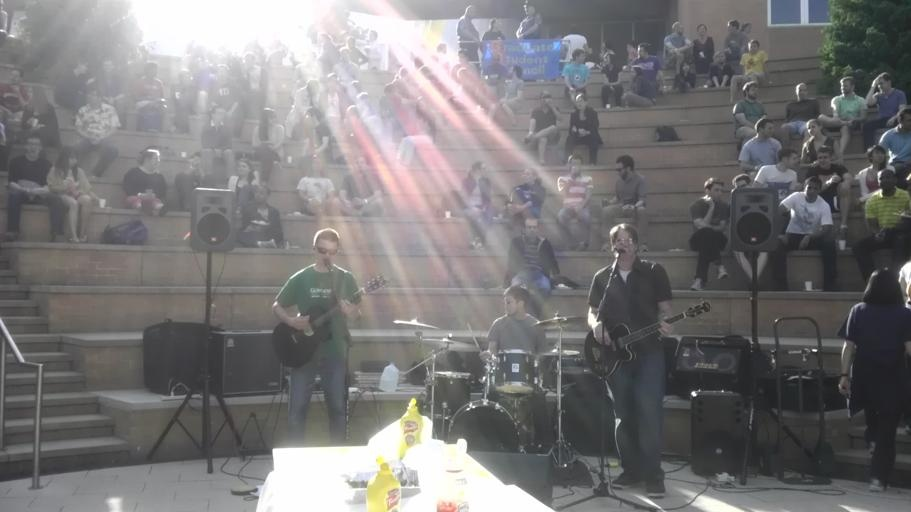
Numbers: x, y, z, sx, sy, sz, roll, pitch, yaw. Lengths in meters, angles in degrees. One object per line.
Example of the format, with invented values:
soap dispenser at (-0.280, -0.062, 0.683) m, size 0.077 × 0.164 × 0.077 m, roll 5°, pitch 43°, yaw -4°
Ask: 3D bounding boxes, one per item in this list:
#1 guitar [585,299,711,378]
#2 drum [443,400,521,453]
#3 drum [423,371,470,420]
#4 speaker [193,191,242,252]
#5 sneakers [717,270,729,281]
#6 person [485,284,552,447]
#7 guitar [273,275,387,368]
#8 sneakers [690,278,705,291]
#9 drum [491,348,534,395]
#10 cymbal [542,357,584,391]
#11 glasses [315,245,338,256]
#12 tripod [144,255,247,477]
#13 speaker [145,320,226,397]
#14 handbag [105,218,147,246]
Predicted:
guitar at (3.389, 1.348, 14.636) m, size 2.412 × 0.976 × 0.277 m, roll -24°, pitch -22°, yaw 24°
drum at (0.490, 2.817, 14.537) m, size 1.182 × 0.776 × 0.301 m, roll 2°, pitch 0°, yaw 0°
drum at (-0.141, 2.445, 15.457) m, size 0.802 × 0.746 × 0.772 m, roll -1°, pitch 2°, yaw 1°
speaker at (-4.579, -0.613, 16.503) m, size 0.750 × 1.152 × 0.585 m, roll 2°, pitch -2°, yaw -15°
sneakers at (5.566, 0.407, 18.324) m, size 0.174 × 0.187 × 0.195 m, roll -9°, pitch -6°, yaw -8°
person at (1.185, 1.936, 15.617) m, size 1.036 × 2.825 × 1.025 m, roll 2°, pitch 0°, yaw -8°
guitar at (-2.555, 1.360, 14.858) m, size 1.061 × 1.171 × 0.327 m, roll 2°, pitch 0°, yaw -9°
sneakers at (5.009, 0.595, 18.191) m, size 0.233 × 0.239 × 0.351 m, roll 2°, pitch 0°, yaw 16°
drum at (1.003, 1.967, 15.118) m, size 0.658 × 0.461 × 0.634 m, roll 3°, pitch -22°, yaw 1°
cymbal at (1.911, 2.078, 15.677) m, size 0.719 × 0.577 × 0.693 m, roll 1°, pitch -9°, yaw -3°
glasses at (-2.184, -0.069, 14.873) m, size 0.355 × 0.117 × 0.125 m, roll 2°, pitch 0°, yaw -23°
tripod at (-4.713, 1.929, 15.896) m, size 1.420 × 3.605 × 1.630 m, roll 1°, pitch -1°, yaw -5°
speaker at (-5.071, 1.862, 16.290) m, size 1.238 × 1.383 × 0.855 m, roll 1°, pitch -2°, yaw -2°
handbag at (-6.936, -0.502, 18.450) m, size 0.893 × 0.447 × 0.767 m, roll 2°, pitch 0°, yaw -20°
